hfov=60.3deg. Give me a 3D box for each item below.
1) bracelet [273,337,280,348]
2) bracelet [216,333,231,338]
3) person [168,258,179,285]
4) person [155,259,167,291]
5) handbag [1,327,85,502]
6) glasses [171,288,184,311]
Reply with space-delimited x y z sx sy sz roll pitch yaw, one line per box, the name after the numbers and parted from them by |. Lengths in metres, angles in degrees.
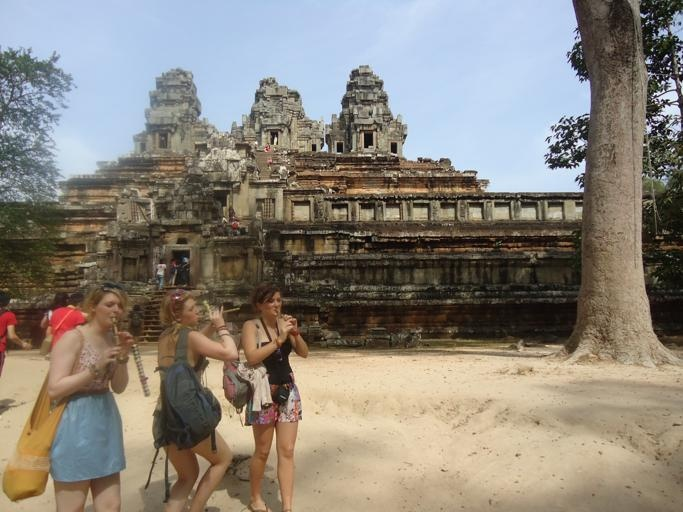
-0.859 1.138 7.820 0.100 0.130 0.051 12 -40 -10 | bracelet
-1.540 1.024 7.664 0.115 0.046 0.055 -6 -5 18 | bracelet
-6.367 0.619 22.303 0.330 1.110 1.287 -6 14 -12 | person
-6.586 0.628 21.480 0.454 0.819 1.478 -6 15 -15 | person
-3.656 2.187 7.006 0.425 1.473 0.744 9 18 37 | handbag
-2.113 0.551 7.603 0.192 0.067 0.203 -10 -43 -32 | glasses
